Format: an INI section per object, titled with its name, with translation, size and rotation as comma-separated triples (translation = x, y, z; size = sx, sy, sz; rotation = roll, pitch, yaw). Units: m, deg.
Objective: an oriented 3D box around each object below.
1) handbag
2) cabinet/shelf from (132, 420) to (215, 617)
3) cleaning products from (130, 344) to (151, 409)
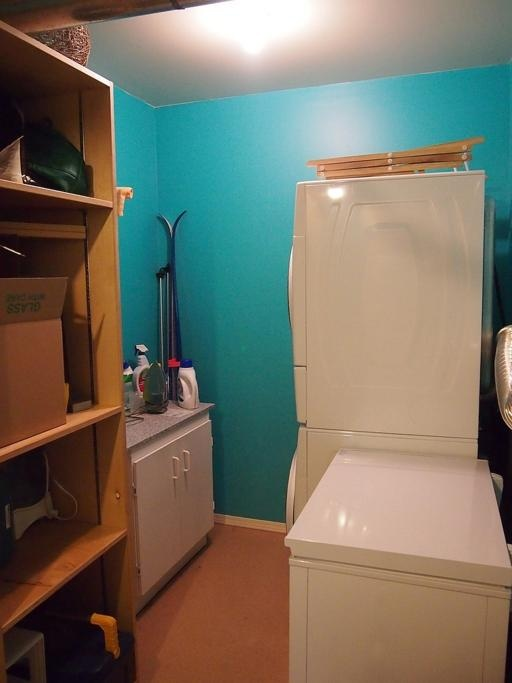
[handbag]
translation = -0.531, -0.495, 1.389
size = 0.152, 0.213, 0.146
rotation = -4, 5, -26
[cabinet/shelf]
translation = -0.372, 0.778, 2.289
size = 0.236, 0.652, 0.567
rotation = -2, 6, 13
[cleaning products]
translation = -0.568, 0.173, 2.608
size = 0.073, 0.322, 0.097
rotation = 3, 5, 31
